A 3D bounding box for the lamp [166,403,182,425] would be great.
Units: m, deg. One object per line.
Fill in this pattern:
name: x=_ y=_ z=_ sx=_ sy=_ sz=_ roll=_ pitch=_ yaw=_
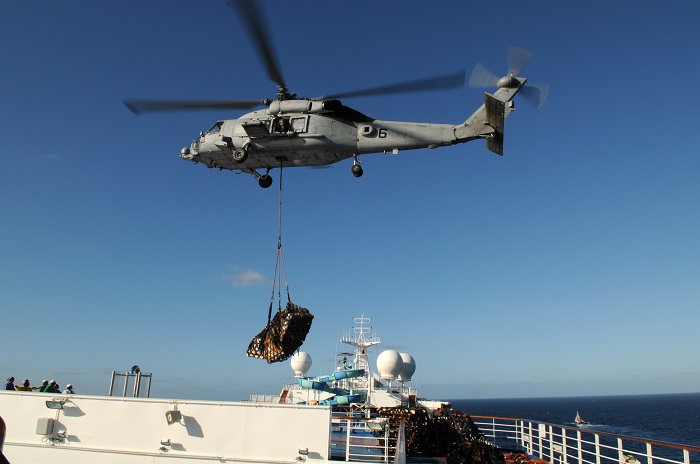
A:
lamp: x=-7.184 y=7.444 z=31.766 sx=0.634 sy=0.884 sz=0.308 roll=1 pitch=-15 yaw=5
